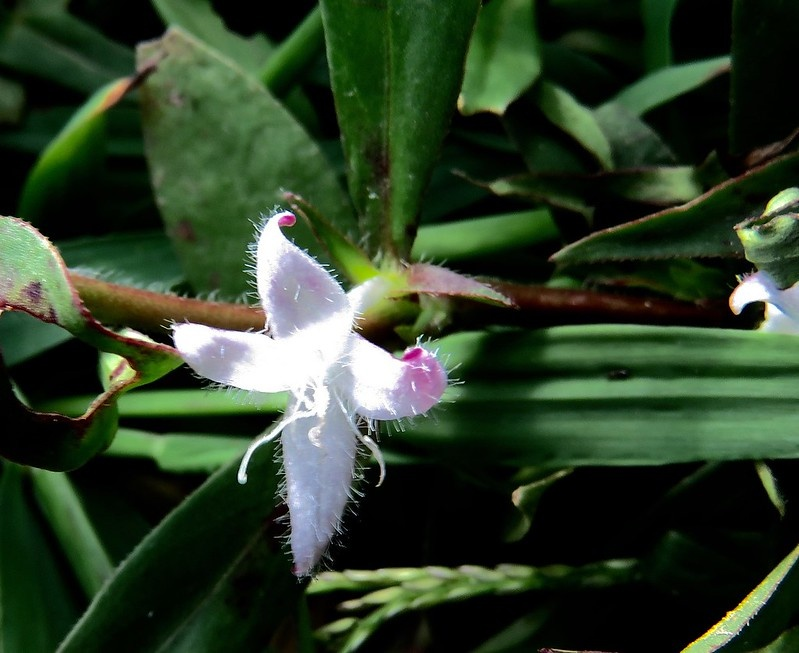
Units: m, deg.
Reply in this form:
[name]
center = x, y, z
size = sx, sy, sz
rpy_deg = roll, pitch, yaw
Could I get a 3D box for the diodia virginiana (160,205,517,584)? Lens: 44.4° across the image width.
[diodia virginiana]
center = -0.067, 0.050, 0.874
size = 0.249, 0.175, 0.296
rpy_deg = -5, -91, 4
